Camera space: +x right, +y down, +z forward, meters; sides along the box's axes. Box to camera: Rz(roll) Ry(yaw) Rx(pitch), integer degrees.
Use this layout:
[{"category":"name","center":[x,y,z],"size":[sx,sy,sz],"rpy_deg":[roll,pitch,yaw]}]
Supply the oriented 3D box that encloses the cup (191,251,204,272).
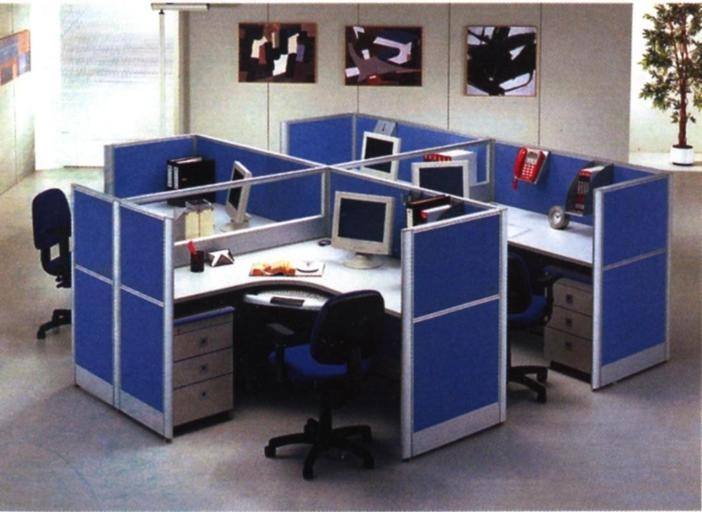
[{"category":"cup","center":[-1.035,0.041,4.831],"size":[0.127,0.129,0.111],"rpy_deg":[3,13,-3]}]

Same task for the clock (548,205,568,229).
[{"category":"clock","center":[1.677,-0.298,5.705],"size":[0.072,0.207,0.187],"rpy_deg":[-3,5,-38]}]

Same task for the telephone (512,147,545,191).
[{"category":"telephone","center":[1.515,-0.746,6.015],"size":[0.096,0.301,0.217],"rpy_deg":[1,16,-44]}]

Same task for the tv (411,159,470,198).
[{"category":"tv","center":[0.752,-0.595,5.813],"size":[0.469,0.329,0.047],"rpy_deg":[2,13,28]}]

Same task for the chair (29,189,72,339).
[{"category":"chair","center":[-2.408,0.068,5.742],"size":[0.365,1.146,0.688],"rpy_deg":[-7,17,-22]}]

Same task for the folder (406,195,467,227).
[{"category":"folder","center":[0.573,-0.306,4.697],"size":[0.300,0.305,0.228],"rpy_deg":[-10,17,-33]}]

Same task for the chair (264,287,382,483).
[{"category":"chair","center":[-0.121,0.714,4.276],"size":[0.694,1.051,0.723],"rpy_deg":[7,9,40]}]

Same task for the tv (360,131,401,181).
[{"category":"tv","center":[0.281,-1.019,6.947],"size":[0.364,0.397,0.035],"rpy_deg":[12,51,4]}]

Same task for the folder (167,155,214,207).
[{"category":"folder","center":[-1.385,-0.631,6.131],"size":[0.486,0.443,0.253],"rpy_deg":[-6,19,-25]}]

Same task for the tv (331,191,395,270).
[{"category":"tv","center":[0.100,-0.191,5.019],"size":[0.477,0.479,0.313],"rpy_deg":[8,16,28]}]
